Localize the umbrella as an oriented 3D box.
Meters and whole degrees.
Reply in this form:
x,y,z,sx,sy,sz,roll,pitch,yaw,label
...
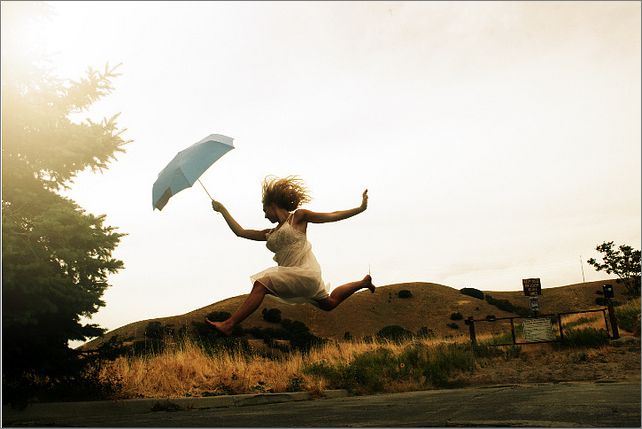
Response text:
x,y,z,sx,sy,sz,roll,pitch,yaw,label
-2.064,-0.675,7.201,0.573,0.869,0.828,44,-41,-11,umbrella
